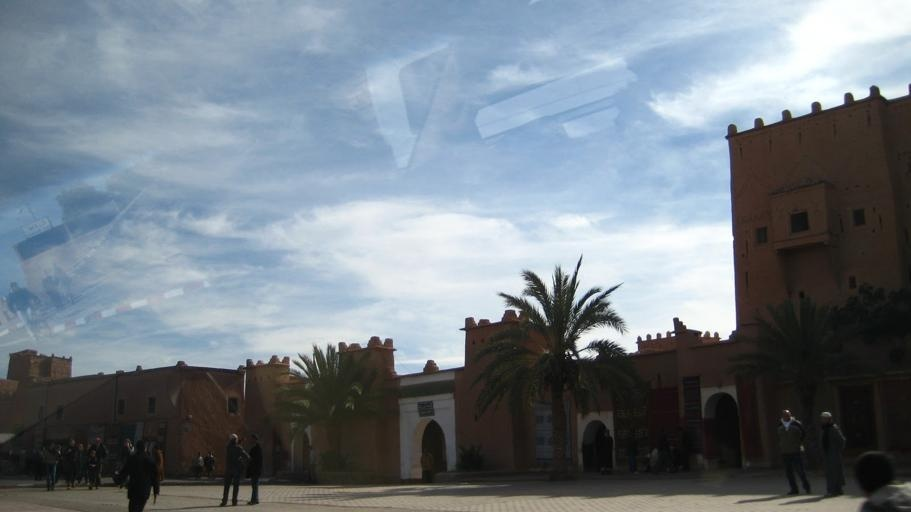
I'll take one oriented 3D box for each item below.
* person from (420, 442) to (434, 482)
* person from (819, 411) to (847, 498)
[{"bbox_3d":[-1.588,11.811,39.262,0.534,1.559,1.264,-1,-21,-5],"label":"person"},{"bbox_3d":[12.988,6.853,24.388,0.859,2.784,1.003,-12,-23,22],"label":"person"}]
